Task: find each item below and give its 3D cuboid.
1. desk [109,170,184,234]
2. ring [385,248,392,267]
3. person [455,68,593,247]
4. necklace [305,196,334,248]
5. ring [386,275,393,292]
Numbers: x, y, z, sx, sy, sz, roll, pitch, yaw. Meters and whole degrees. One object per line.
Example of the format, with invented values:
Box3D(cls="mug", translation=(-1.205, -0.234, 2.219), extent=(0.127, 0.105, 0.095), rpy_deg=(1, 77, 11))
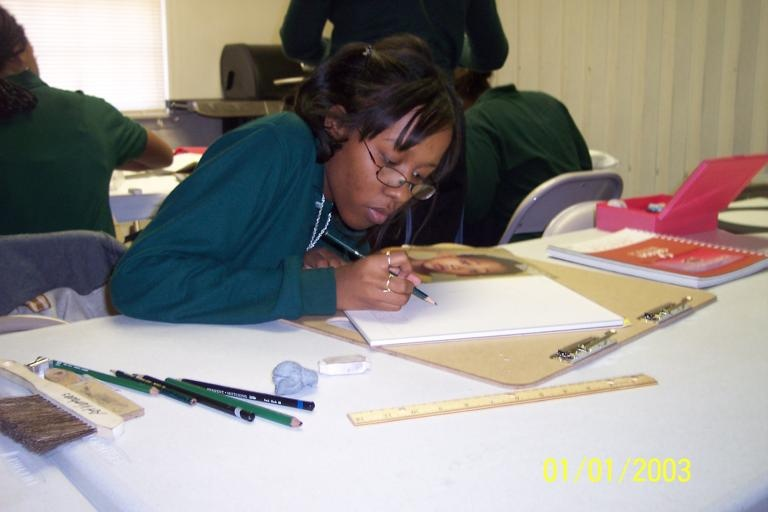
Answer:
Box3D(cls="desk", translation=(-0.759, -0.187, 1.888), extent=(0.238, 0.221, 0.283), rpy_deg=(-12, 24, -36))
Box3D(cls="ring", translation=(0.010, 0.001, 1.124), extent=(0.009, 0.018, 0.023), rpy_deg=(4, 64, -2))
Box3D(cls="person", translation=(0.476, -0.362, 2.361), extent=(0.458, 0.697, 0.444), rpy_deg=(0, 25, -12))
Box3D(cls="necklace", translation=(-0.153, -0.083, 1.423), extent=(0.031, 0.110, 0.081), rpy_deg=(16, 40, -31))
Box3D(cls="ring", translation=(0.008, 0.052, 1.062), extent=(0.006, 0.015, 0.019), rpy_deg=(12, 36, 6))
